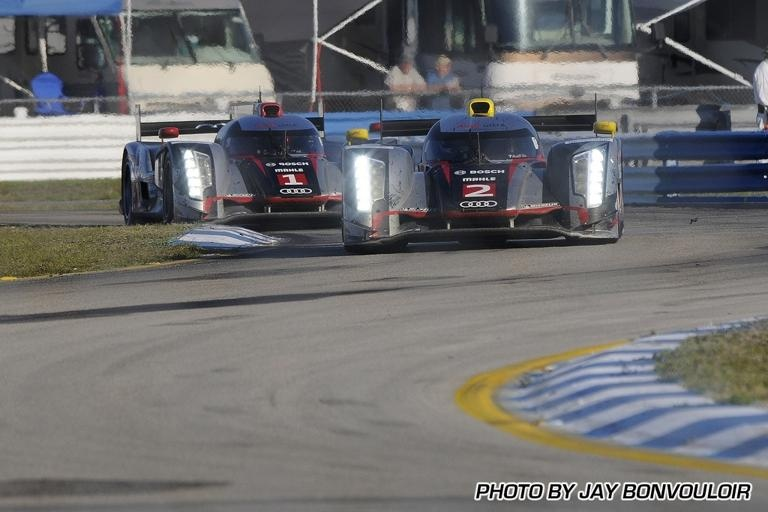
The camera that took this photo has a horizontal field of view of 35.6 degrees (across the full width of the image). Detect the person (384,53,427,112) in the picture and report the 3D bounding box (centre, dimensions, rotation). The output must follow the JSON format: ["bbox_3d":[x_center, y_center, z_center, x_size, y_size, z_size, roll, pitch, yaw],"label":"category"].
[{"bbox_3d":[0.563,-3.997,28.283,1.038,0.728,2.412,-12,-29,-7],"label":"person"}]

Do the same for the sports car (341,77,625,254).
[{"bbox_3d":[1.290,-1.037,15.678,3.584,1.828,2.204,-1,15,3],"label":"sports car"}]
